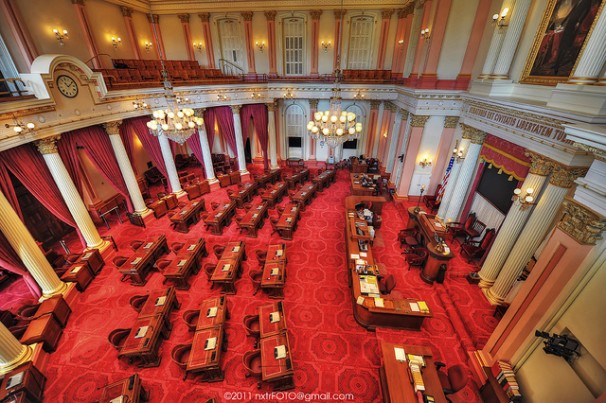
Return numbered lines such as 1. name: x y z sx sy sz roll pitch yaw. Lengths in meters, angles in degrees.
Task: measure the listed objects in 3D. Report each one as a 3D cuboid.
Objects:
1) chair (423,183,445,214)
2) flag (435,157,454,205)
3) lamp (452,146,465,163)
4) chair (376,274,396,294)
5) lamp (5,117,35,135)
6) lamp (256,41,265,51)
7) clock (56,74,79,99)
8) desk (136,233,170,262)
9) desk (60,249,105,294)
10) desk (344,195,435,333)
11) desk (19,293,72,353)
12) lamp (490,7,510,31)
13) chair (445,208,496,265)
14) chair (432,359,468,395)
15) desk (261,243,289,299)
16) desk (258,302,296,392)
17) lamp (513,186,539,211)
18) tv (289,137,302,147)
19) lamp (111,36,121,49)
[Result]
1. chair: 5.906 -0.128 13.425 0.683 1.171 0.818 -6 46 2
2. flag: 6.087 -0.944 12.883 0.306 2.646 1.785 12 30 21
3. lamp: 6.051 -1.807 11.581 0.174 0.656 0.587 19 41 39
4. chair: 2.842 2.833 10.160 0.707 0.994 0.598 8 67 5
5. lamp: -8.503 -2.290 9.016 0.501 0.239 0.445 20 28 28
6. lamp: -2.325 -8.590 16.421 0.527 0.566 0.165 -2 51 0
7. clock: -7.937 -3.868 10.091 0.104 0.737 0.607 10 29 17
8. desk: -5.593 1.904 11.815 1.260 0.574 0.867 -33 3 7
9. desk: -7.826 2.533 10.643 0.708 0.847 1.265 1 30 3
10. desk: 2.706 1.681 11.513 2.078 1.489 6.347 0 37 0
11. desk: -7.864 3.796 9.175 0.740 0.832 1.295 3 33 -9
12. lamp: 6.295 -5.810 9.490 0.605 0.582 0.368 -22 35 -38
13. chair: 6.297 1.338 11.164 0.726 1.192 1.708 -4 30 4
14. chair: 3.977 4.778 8.071 0.519 0.724 0.572 35 37 -25
15. desk: -0.973 2.488 10.441 0.628 0.566 1.742 5 36 2
16. desk: -0.787 4.250 8.694 0.935 1.566 1.712 -4 28 -9
17. lamp: 6.639 -0.075 8.967 0.556 0.670 0.558 25 36 39
18. tv: -0.469 -3.838 19.053 0.703 0.565 0.093 1 35 3
19. lamp: -9.129 -7.761 14.579 0.216 0.555 0.618 20 41 1
